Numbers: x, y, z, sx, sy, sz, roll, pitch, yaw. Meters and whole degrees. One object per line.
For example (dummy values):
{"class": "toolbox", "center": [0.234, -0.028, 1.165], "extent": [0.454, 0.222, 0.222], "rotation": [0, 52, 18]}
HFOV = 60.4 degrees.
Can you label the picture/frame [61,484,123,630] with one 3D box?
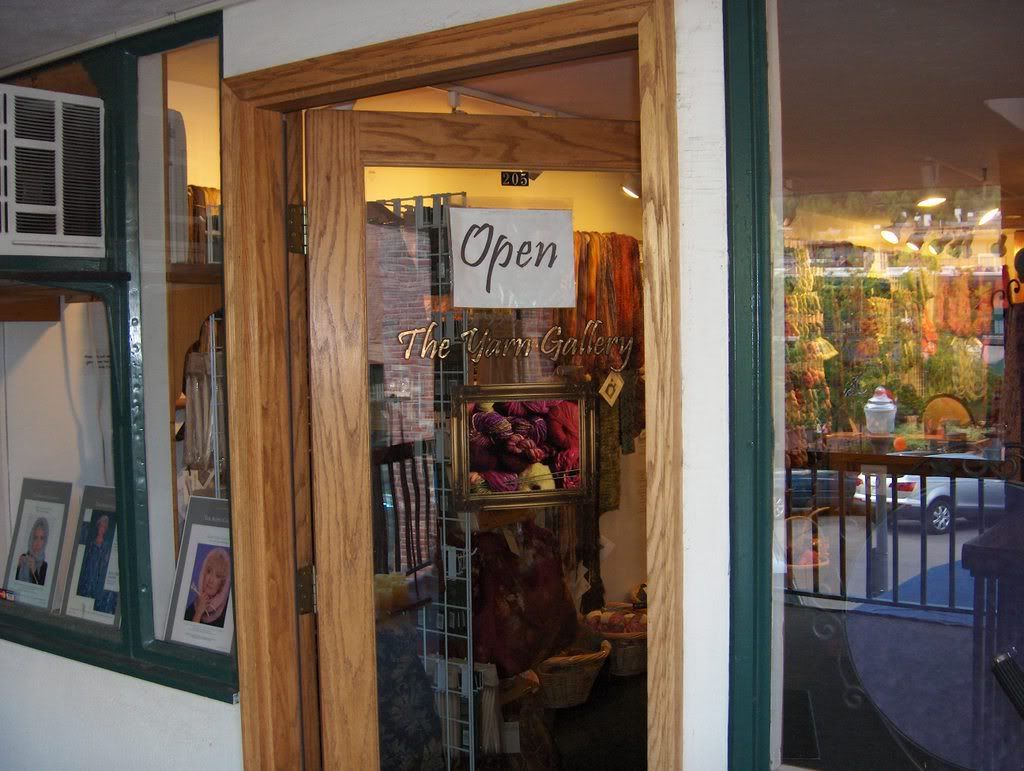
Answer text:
{"class": "picture/frame", "center": [-1.339, 0.557, 2.829], "extent": [0.438, 0.623, 0.030], "rotation": [1, 0, 45]}
